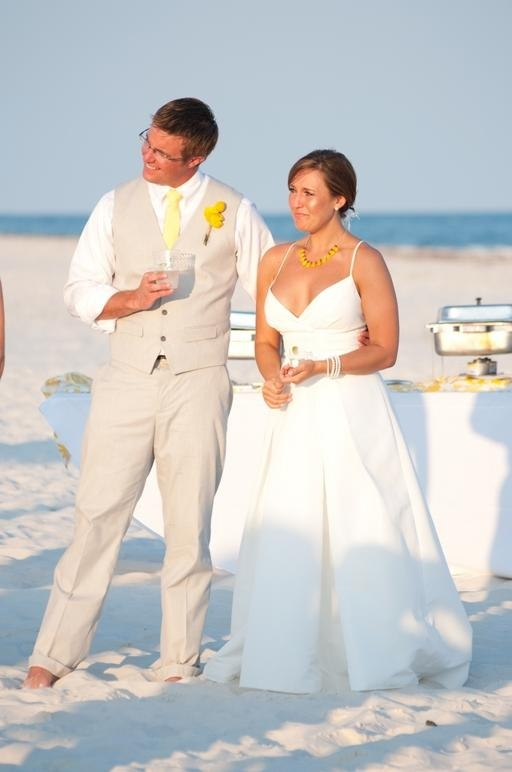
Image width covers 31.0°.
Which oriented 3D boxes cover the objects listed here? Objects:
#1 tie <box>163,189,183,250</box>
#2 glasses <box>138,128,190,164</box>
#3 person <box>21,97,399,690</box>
[{"bbox_3d":[-0.247,-0.475,2.646,0.053,0.172,0.024,1,-4,-2],"label":"tie"},{"bbox_3d":[-0.242,-0.661,2.640,0.041,0.117,0.131,-37,-21,22],"label":"glasses"},{"bbox_3d":[-0.293,-0.007,2.639,0.654,1.652,0.444,1,-2,0],"label":"person"}]
